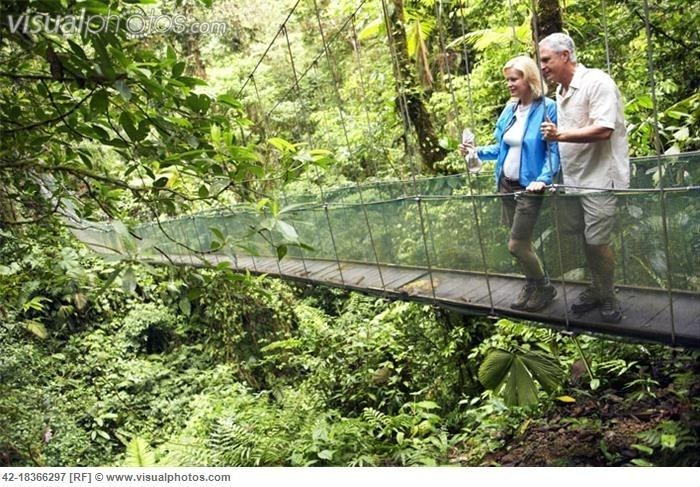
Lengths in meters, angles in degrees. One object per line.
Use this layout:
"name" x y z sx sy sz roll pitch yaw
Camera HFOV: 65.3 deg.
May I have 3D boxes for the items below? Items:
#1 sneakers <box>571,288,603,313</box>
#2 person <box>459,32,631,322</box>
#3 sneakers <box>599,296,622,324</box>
"sneakers" 1.215 0.292 2.779 0.165 0.069 0.071 -25 20 -28
"person" 1.074 -0.337 2.793 0.632 1.390 0.504 0 22 31
"sneakers" 1.282 0.335 2.680 0.060 0.068 0.160 -8 10 30
